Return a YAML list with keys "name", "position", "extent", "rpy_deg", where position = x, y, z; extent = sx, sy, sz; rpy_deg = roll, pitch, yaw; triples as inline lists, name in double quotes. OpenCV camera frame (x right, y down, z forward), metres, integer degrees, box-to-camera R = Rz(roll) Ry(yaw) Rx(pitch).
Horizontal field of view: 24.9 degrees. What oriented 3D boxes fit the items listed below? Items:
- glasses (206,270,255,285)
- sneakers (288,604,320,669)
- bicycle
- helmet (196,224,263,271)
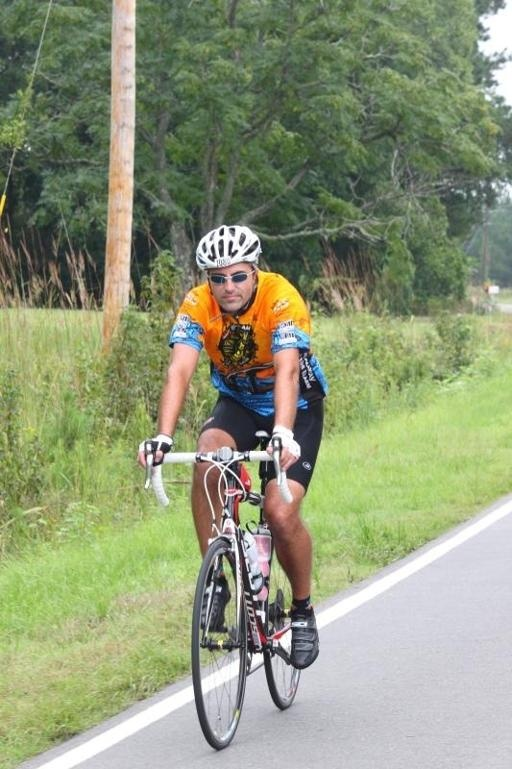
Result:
- name: "glasses"
  position: [-0.104, -0.414, 4.521]
  extent: [0.168, 0.054, 0.063]
  rpy_deg: [-1, 4, -4]
- name: "sneakers"
  position: [0.182, 1.004, 4.682]
  extent: [0.084, 0.296, 0.112]
  rpy_deg: [-2, -30, 6]
- name: "bicycle"
  position: [-0.121, 0.752, 4.298]
  extent: [0.551, 1.168, 1.150]
  rpy_deg: [-1, 4, 2]
- name: "helmet"
  position: [-0.111, -0.538, 4.552]
  extent: [0.240, 0.178, 0.245]
  rpy_deg: [-1, 5, -3]
